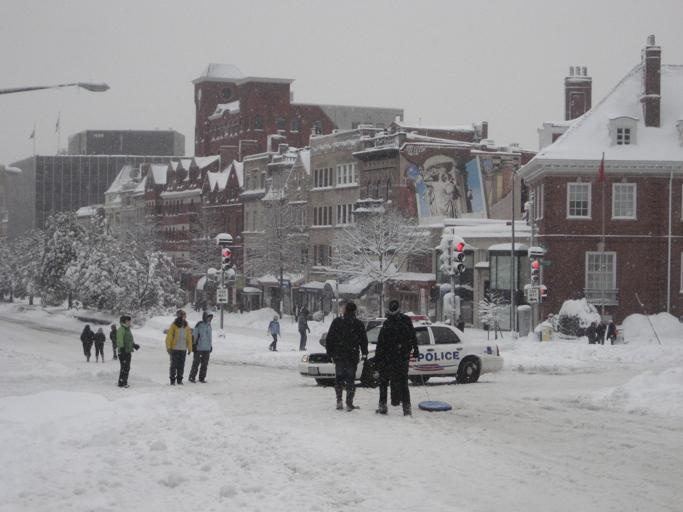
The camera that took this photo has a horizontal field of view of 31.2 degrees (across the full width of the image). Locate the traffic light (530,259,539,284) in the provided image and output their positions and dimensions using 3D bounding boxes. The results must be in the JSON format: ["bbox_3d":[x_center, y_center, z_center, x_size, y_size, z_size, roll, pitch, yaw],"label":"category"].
[{"bbox_3d":[8.112,0.573,50.939,0.251,0.986,1.254,0,-6,13],"label":"traffic light"}]

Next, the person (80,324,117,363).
[{"bbox_3d":[-9.843,3.567,49.611,1.317,1.919,0.657,0,6,1],"label":"person"}]

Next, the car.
[{"bbox_3d":[2.040,2.881,35.572,5.220,1.937,2.263,3,-4,-31],"label":"car"}]

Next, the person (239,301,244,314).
[{"bbox_3d":[-7.666,3.841,93.754,0.159,0.830,0.411,-1,-6,3],"label":"person"}]

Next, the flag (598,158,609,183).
[{"bbox_3d":[12.691,-4.346,59.356,0.418,1.020,1.687,0,-6,12],"label":"flag"}]

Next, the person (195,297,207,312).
[{"bbox_3d":[-10.992,3.710,96.046,0.946,0.879,1.225,8,-7,-23],"label":"person"}]
